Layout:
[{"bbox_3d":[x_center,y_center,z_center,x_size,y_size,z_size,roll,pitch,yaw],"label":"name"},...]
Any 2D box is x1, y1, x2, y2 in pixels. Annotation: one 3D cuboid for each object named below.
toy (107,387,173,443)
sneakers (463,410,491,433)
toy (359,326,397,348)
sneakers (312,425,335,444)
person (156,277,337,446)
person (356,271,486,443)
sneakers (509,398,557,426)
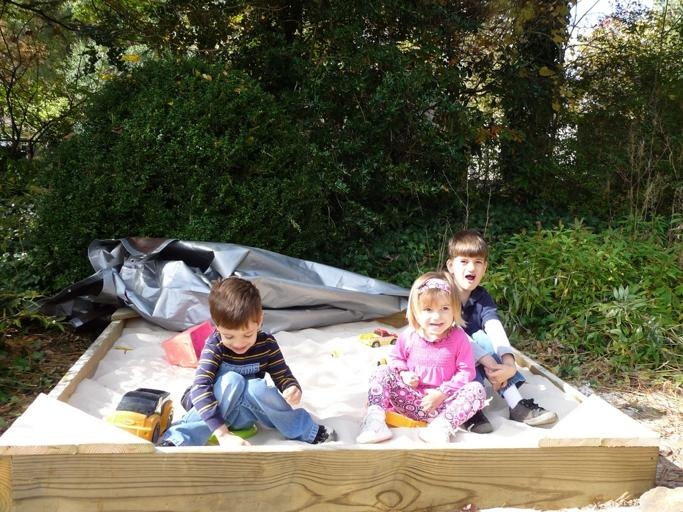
[{"bbox_3d":[-1.221,0.936,3.264,0.302,0.219,0.462,6,4,-6],"label":"toy"},{"bbox_3d":[0.866,1.033,3.370,0.176,0.108,0.126,1,4,-15],"label":"sneakers"},{"bbox_3d":[0.318,0.685,4.557,0.227,0.083,0.151,0,3,-18],"label":"toy"},{"bbox_3d":[-0.110,1.058,3.210,0.110,0.057,0.169,-2,0,-1],"label":"sneakers"},{"bbox_3d":[-0.642,0.644,3.177,1.051,0.886,0.922,-1,7,-36],"label":"person"},{"bbox_3d":[0.539,0.606,3.363,0.693,0.980,0.428,3,5,14],"label":"person"},{"bbox_3d":[1.225,1.003,3.497,0.278,0.110,0.116,-4,5,37],"label":"sneakers"}]
